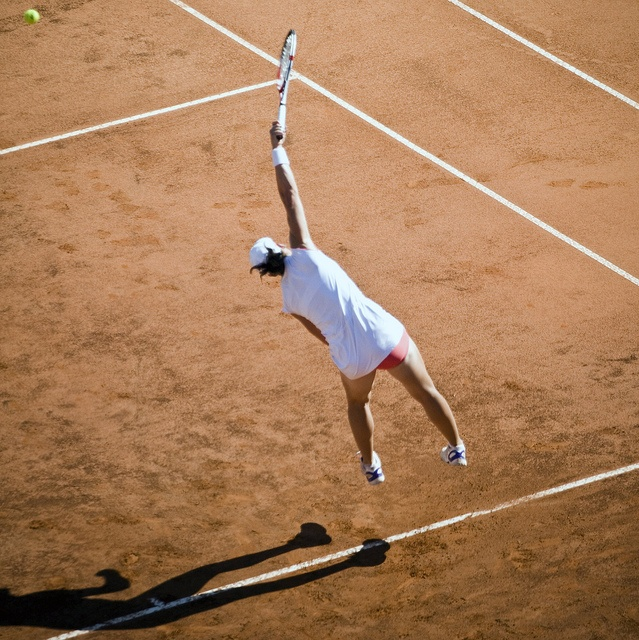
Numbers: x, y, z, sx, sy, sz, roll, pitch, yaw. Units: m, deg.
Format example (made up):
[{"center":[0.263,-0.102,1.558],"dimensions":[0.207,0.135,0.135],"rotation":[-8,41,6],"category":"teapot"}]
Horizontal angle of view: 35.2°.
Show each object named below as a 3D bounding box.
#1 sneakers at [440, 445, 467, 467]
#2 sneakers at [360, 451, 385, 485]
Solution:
[{"center":[1.111,1.105,8.294],"dimensions":[0.106,0.127,0.292],"rotation":[-4,7,-4],"category":"sneakers"},{"center":[0.451,1.266,8.425],"dimensions":[0.128,0.151,0.350],"rotation":[-20,41,-3],"category":"sneakers"}]
